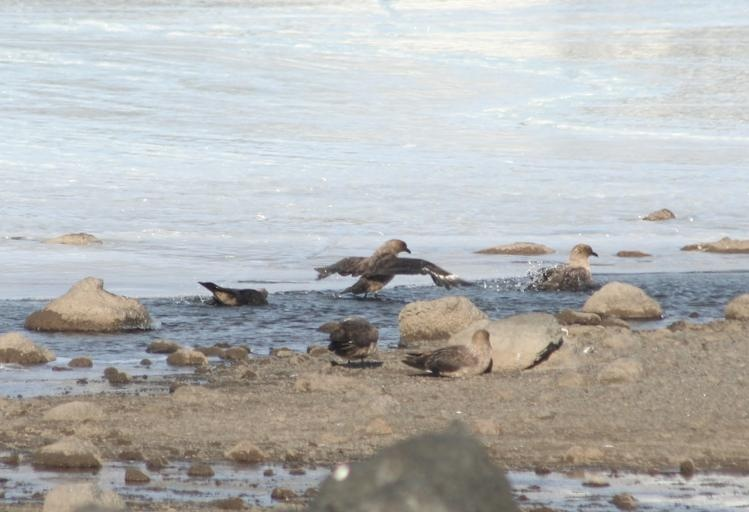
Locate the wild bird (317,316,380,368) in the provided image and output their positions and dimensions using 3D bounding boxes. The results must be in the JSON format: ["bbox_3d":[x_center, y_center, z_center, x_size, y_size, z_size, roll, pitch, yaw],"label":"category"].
[{"bbox_3d":[-0.422,1.574,34.562,0.913,1.005,1.195,0,16,1],"label":"wild bird"}]

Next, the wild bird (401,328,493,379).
[{"bbox_3d":[1.426,1.866,33.737,1.960,0.824,0.886,-1,10,30],"label":"wild bird"}]
